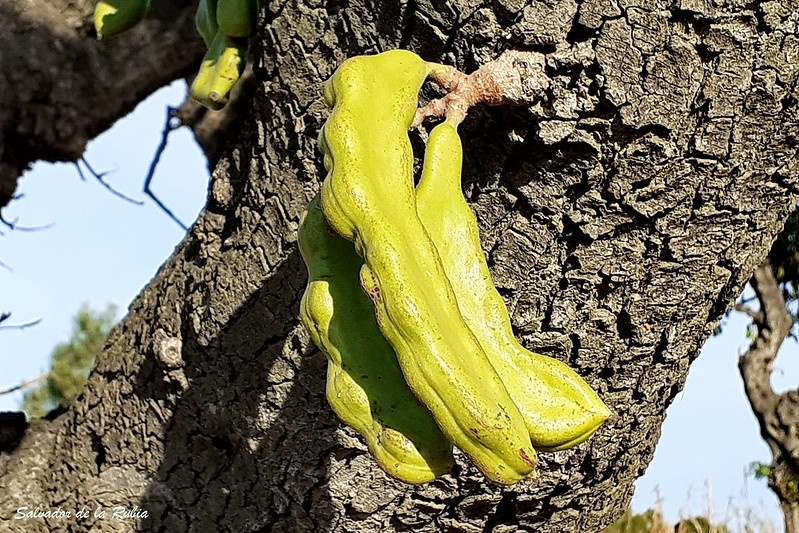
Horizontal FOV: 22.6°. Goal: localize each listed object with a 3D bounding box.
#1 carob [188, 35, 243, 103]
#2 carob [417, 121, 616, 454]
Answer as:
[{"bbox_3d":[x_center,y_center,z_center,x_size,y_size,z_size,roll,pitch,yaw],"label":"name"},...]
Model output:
[{"bbox_3d":[-0.727,-0.777,8.055,0.154,0.311,0.103,20,-4,12],"label":"carob"},{"bbox_3d":[0.287,0.116,7.640,0.449,1.588,0.388,-3,-45,-23],"label":"carob"}]
